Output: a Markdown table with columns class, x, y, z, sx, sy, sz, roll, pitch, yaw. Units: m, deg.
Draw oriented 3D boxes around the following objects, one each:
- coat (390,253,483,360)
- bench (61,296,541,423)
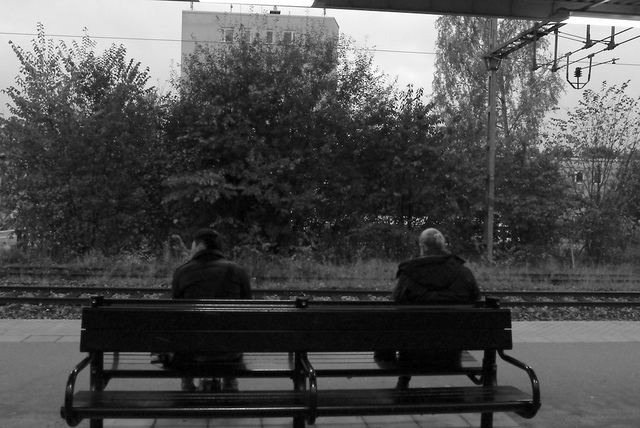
| class | x | y | z | sx | sy | sz | roll | pitch | yaw |
| --- | --- | --- | --- | --- | --- | --- | --- | --- | --- |
| coat | 1.830 | 1.518 | 11.869 | 1.988 | 1.958 | 1.067 | -2 | 0 | 8 |
| bench | -0.373 | 2.337 | 12.042 | 6.902 | 2.170 | 1.682 | -1 | -1 | -2 |
